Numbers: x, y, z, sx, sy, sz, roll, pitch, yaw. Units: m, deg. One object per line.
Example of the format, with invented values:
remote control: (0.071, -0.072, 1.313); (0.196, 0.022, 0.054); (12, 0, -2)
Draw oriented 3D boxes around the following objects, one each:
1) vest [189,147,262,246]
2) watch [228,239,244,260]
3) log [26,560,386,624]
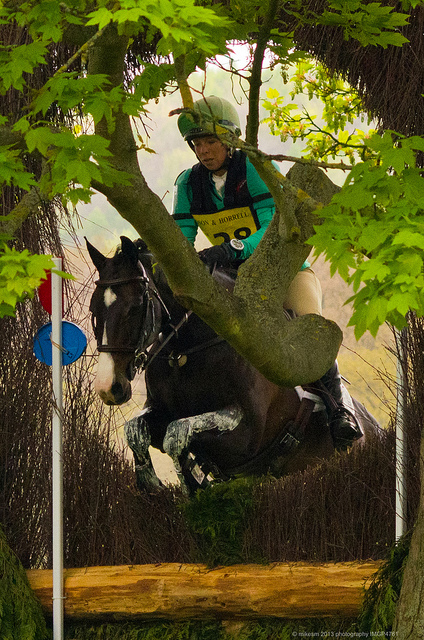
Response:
vest: (0.115, -0.640, 4.811); (0.396, 0.497, 0.383); (5, 11, 32)
watch: (0.121, -0.319, 4.209); (0.079, 0.089, 0.093); (0, 14, 16)
log: (0.022, 1.162, 3.898); (2.435, 0.252, 0.313); (-1, -20, 3)
